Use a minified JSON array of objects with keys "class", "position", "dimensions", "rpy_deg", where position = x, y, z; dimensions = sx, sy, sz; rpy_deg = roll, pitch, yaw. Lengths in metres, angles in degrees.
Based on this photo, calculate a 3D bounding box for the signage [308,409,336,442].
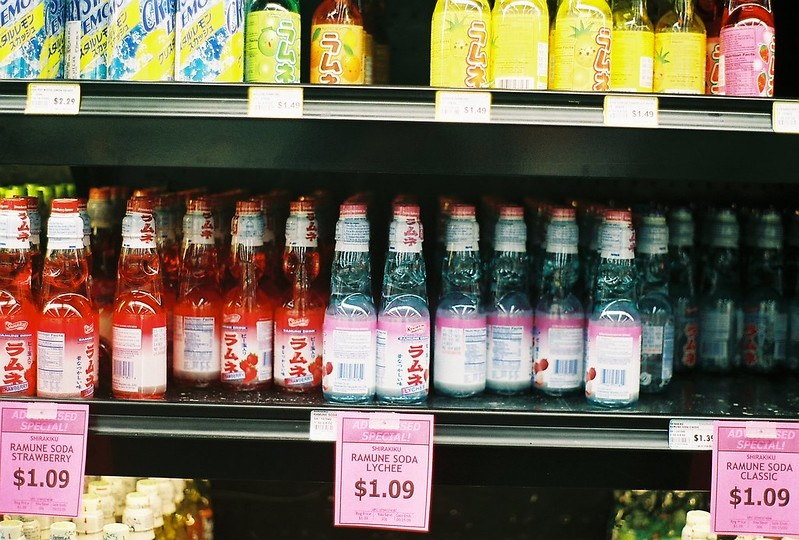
[{"class":"signage","position":[-0.186,0.388,2.004],"dimensions":[0.070,0.072,0.008],"rpy_deg":[0,-3,8]}]

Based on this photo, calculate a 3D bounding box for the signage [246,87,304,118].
[{"class":"signage","position":[-0.301,-0.410,1.972],"dimensions":[0.138,0.078,0.017],"rpy_deg":[0,-3,4]}]
